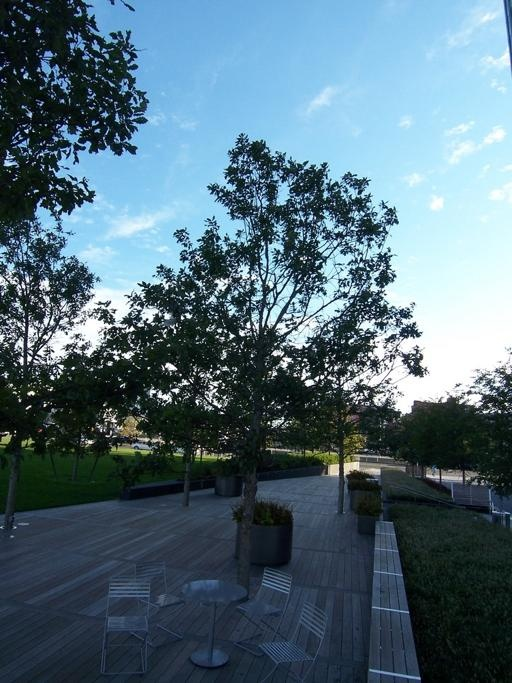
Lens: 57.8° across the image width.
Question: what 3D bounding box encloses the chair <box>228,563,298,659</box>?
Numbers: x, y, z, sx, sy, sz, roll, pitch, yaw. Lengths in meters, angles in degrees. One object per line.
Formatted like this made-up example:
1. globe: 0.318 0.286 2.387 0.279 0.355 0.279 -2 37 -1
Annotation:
1. chair: 0.047 3.629 6.446 0.752 1.309 0.882 -9 -34 37

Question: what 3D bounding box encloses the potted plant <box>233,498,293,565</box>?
1. potted plant: 0.264 3.740 9.472 1.427 1.016 1.371 6 -11 -28

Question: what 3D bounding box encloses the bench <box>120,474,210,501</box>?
1. bench: -3.230 5.481 17.542 0.617 0.504 5.363 -1 -11 24

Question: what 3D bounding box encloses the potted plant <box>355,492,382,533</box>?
1. potted plant: 3.118 4.697 12.791 0.744 1.012 0.899 0 -1 9
